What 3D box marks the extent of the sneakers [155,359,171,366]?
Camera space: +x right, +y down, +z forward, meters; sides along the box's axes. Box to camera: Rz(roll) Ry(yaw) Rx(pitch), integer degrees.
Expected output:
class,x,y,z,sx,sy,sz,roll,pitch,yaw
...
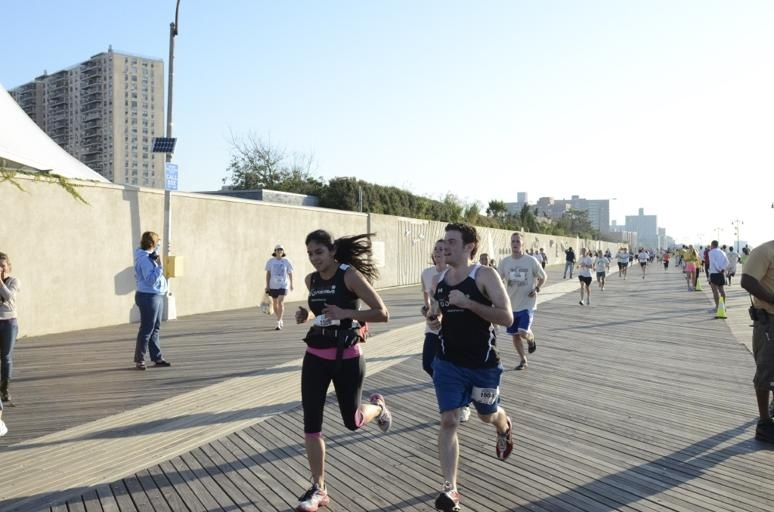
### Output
class,x,y,z,sx,sy,sz,roll,pitch,yaw
sneakers,-4.094,1.926,10.967,0.291,0.144,0.117,-1,-4,-3

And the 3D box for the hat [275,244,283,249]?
class,x,y,z,sx,sy,sz,roll,pitch,yaw
hat,-2.974,-0.265,16.480,0.234,0.169,0.406,0,-3,-11

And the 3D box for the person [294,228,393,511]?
class,x,y,z,sx,sy,sz,roll,pitch,yaw
person,-0.560,1.185,6.776,1.216,2.950,0.861,-4,8,-27

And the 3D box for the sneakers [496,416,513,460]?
class,x,y,z,sx,sy,sz,roll,pitch,yaw
sneakers,1.385,2.172,7.020,0.172,0.562,0.221,2,-1,23

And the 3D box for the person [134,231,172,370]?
class,x,y,z,sx,sy,sz,roll,pitch,yaw
person,-4.271,0.788,10.805,0.610,2.436,0.578,-3,8,-24

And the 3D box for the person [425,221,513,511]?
class,x,y,z,sx,sy,sz,roll,pitch,yaw
person,0.846,1.144,6.604,1.137,2.963,0.741,-5,8,-32

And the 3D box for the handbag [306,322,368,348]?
class,x,y,z,sx,sy,sz,roll,pitch,yaw
handbag,-0.561,0.864,6.565,0.398,0.171,0.333,-3,0,-13

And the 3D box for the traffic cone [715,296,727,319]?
class,x,y,z,sx,sy,sz,roll,pitch,yaw
traffic cone,9.339,1.423,16.815,0.279,0.537,1.027,4,9,29

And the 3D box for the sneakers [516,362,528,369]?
class,x,y,z,sx,sy,sz,roll,pitch,yaw
sneakers,2.401,1.963,10.733,0.094,0.116,0.262,-10,-6,37

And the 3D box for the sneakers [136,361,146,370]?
class,x,y,z,sx,sy,sz,roll,pitch,yaw
sneakers,-4.404,1.957,10.745,0.088,0.110,0.274,2,-6,-25
